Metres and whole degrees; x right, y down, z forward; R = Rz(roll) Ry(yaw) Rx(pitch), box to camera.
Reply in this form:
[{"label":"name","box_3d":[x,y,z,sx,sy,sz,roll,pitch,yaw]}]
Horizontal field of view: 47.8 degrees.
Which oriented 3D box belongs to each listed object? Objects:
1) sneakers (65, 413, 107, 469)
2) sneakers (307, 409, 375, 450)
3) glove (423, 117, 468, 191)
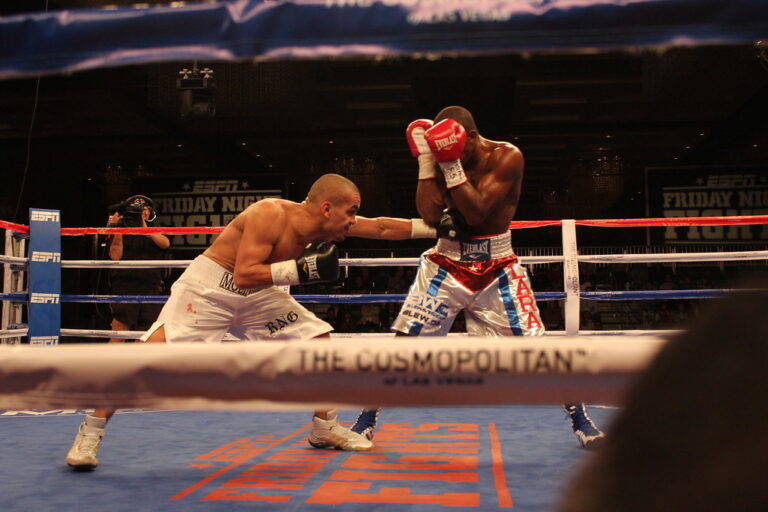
[{"label":"sneakers","box_3d":[-1.473,0.925,4.304,0.203,0.243,0.237,-2,3,-30]},{"label":"sneakers","box_3d":[-0.254,0.960,4.719,0.457,0.228,0.145,1,-7,2]},{"label":"glove","box_3d":[0.311,-0.525,4.353,0.207,0.353,0.123,-1,3,1]}]
